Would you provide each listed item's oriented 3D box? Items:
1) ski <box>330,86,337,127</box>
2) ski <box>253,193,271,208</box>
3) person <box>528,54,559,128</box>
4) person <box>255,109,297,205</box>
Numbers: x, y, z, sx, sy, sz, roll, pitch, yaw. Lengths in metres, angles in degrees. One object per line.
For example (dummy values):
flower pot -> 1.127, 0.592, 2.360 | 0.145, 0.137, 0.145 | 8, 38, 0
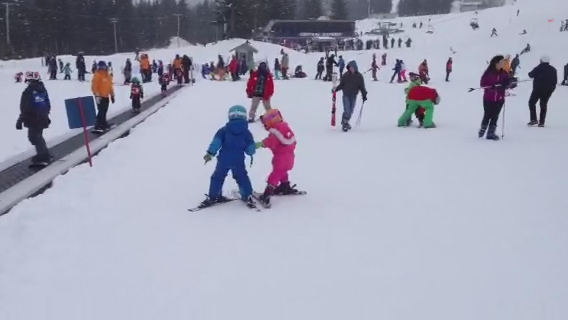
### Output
ski -> 1.911, -1.862, 20.254 | 0.220, 2.099, 0.255 | 2, 15, 6
ski -> -0.656, 1.128, 14.452 | 0.700, 0.232, 0.215 | 30, 21, 28
person -> 9.469, -2.486, 19.490 | 1.137, 3.139, 0.893 | 3, 3, 36
person -> -0.202, -0.128, 14.418 | 1.000, 2.369, 1.115 | 1, 18, 0
